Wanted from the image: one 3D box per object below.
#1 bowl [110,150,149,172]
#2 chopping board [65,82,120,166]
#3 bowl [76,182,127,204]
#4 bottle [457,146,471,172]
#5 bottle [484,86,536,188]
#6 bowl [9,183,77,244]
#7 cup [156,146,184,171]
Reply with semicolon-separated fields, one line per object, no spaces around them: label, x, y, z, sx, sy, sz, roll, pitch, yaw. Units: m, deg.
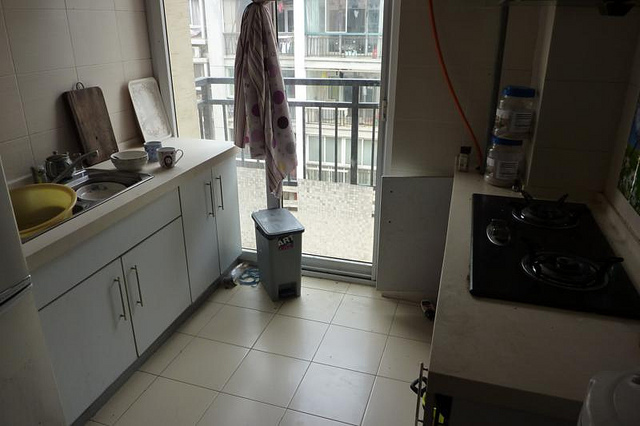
bowl;-1.192;-0.329;2.764;0.177;0.084;0.181;0;15;0
chopping board;-1.442;-0.586;2.826;0.044;0.449;0.261;-4;19;19
bowl;-1.280;-0.131;2.594;0.179;0.052;0.234;17;31;34
bottle;0.862;-0.327;2.669;0.060;0.126;0.103;7;26;17
bottle;1.030;-0.431;2.412;0.183;0.511;0.304;10;27;24
bowl;-1.371;-0.002;2.158;0.297;0.138;0.319;5;23;-2
cup;-0.955;-0.358;2.871;0.116;0.132;0.185;15;23;32
